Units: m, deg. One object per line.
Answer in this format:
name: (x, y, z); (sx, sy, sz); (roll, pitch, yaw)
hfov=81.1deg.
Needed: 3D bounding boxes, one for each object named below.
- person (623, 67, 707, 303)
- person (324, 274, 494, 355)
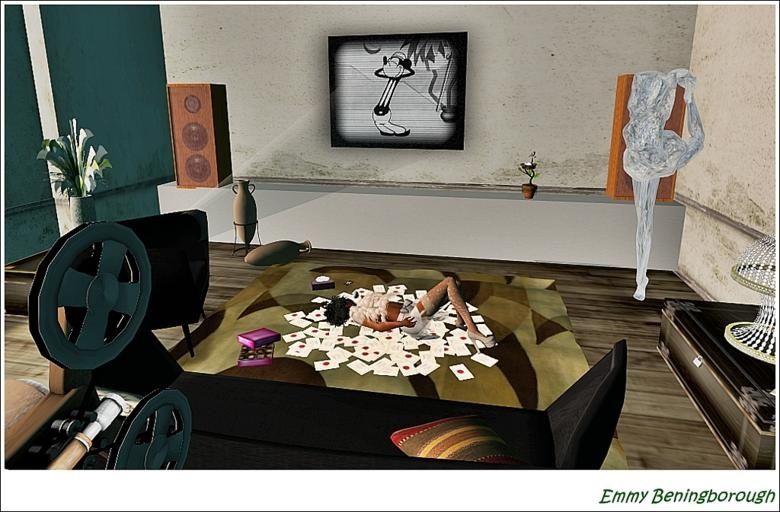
person: (2.271, -0.581, 3.968); (0.561, 1.917, 1.092); (8, 17, 25)
person: (0.075, 0.321, 2.979); (1.148, 0.458, 0.413); (2, 23, 6)
